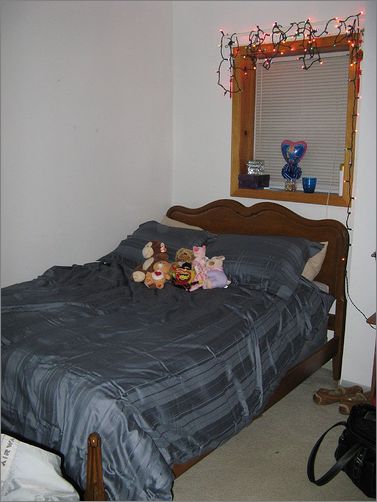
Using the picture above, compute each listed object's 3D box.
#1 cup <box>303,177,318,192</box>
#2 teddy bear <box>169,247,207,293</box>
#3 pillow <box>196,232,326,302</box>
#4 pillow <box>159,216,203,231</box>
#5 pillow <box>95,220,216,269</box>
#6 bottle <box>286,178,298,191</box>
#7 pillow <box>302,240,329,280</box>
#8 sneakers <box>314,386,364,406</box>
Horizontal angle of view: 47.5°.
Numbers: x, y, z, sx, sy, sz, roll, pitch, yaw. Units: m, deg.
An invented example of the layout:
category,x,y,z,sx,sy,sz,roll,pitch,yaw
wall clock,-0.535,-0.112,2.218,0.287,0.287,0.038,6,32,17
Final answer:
category,x,y,z,sx,sy,sz,roll,pitch,yaw
cup,0.849,-0.468,3.004,0.110,0.115,0.105,-1,14,0
teddy bear,0.005,0.096,2.613,0.209,0.123,0.269,-1,47,19
pillow,0.500,0.035,2.610,0.482,0.119,0.474,8,27,26
pillow,-0.120,-0.222,3.462,0.178,0.053,0.180,21,3,17
pillow,-0.215,-0.085,3.061,0.459,0.106,0.455,2,20,34
bottle,0.744,-0.481,3.117,0.085,0.085,0.081,11,17,31
pillow,0.817,0.066,2.752,0.067,0.208,0.223,23,-8,-10
sneakers,0.864,0.826,2.500,0.311,0.084,0.108,-7,12,-14
